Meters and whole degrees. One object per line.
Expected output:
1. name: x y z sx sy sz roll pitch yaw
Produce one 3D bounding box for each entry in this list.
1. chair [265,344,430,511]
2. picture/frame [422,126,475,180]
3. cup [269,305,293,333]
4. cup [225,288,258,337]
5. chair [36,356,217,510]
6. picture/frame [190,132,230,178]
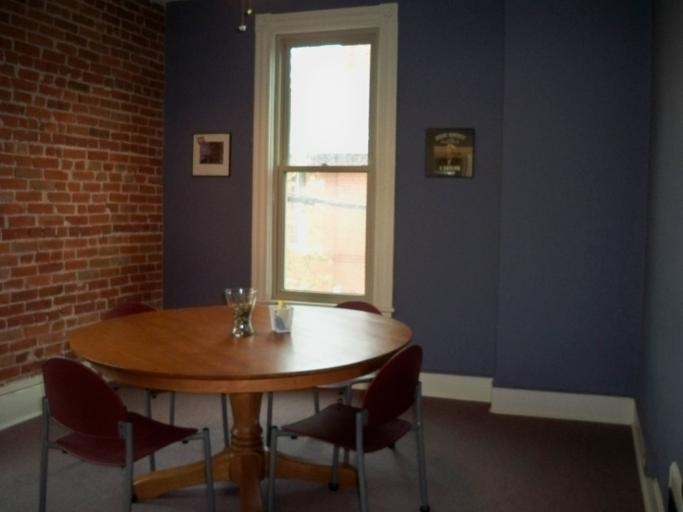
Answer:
1. chair: 0.065 0.915 2.962 0.828 1.020 0.542 3 11 9
2. picture/frame: 0.869 -0.820 4.456 0.366 0.423 0.032 2 8 13
3. cup: -0.324 0.340 3.068 0.136 0.185 0.127 2 8 0
4. cup: -0.538 0.310 3.063 0.178 0.251 0.197 2 -6 -36
5. chair: -1.131 0.854 2.777 0.777 0.866 0.428 5 11 20
6. picture/frame: -1.141 -0.908 4.962 0.297 0.355 0.012 0 -19 -14
